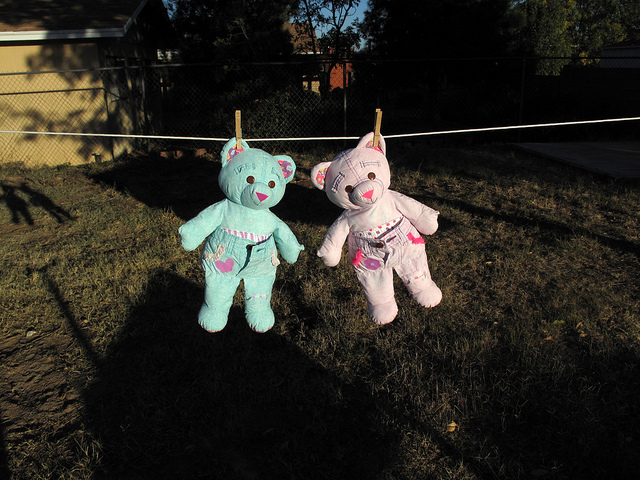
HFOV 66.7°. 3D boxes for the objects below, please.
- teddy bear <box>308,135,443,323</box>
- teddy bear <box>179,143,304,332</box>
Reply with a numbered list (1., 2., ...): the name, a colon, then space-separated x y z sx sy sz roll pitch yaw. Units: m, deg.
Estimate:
1. teddy bear: 0.562 -0.106 4.804 1.131 1.999 0.623 -16 24 8
2. teddy bear: -0.748 0.006 4.683 1.104 1.933 0.654 3 23 -18
